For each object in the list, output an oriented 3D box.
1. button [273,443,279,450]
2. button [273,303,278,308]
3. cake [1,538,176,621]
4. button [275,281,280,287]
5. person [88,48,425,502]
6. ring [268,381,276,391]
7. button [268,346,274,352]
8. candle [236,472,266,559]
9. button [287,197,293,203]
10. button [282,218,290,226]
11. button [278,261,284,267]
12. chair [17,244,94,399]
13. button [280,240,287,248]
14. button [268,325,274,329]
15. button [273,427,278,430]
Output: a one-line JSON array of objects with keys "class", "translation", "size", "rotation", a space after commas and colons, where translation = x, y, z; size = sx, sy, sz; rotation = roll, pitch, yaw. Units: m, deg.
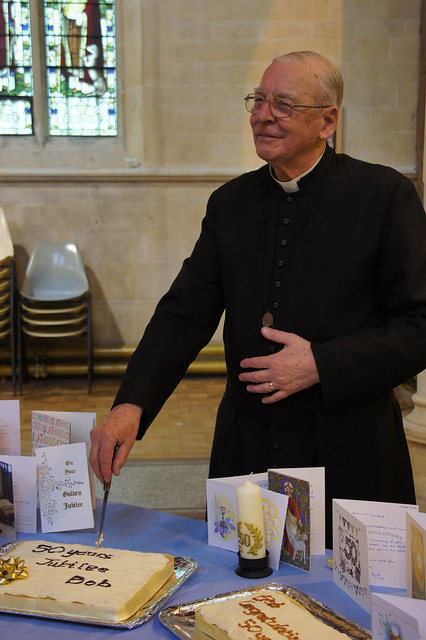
[{"class": "button", "translation": [0.146, 0.293, 1.450], "size": [0.009, 0.008, 0.002], "rotation": [-25, -16, 27]}, {"class": "button", "translation": [0.146, -0.033, 1.458], "size": [0.010, 0.009, 0.003], "rotation": [-8, -17, 20]}, {"class": "cake", "translation": [-0.267, 0.453, 1.122], "size": [0.346, 0.064, 0.233], "rotation": [1, -3, 23]}, {"class": "button", "translation": [0.151, -0.085, 1.463], "size": [0.010, 0.011, 0.005], "rotation": [1, -2, 19]}, {"class": "person", "translation": [0.147, -0.084, 1.459], "size": [0.710, 1.021, 0.476], "rotation": [2, -2, 3]}, {"class": "ring", "translation": [0.125, 0.140, 1.316], "size": [0.015, 0.016, 0.013], "rotation": [5, 2, 16]}, {"class": "button", "translation": [0.134, 0.068, 1.450], "size": [0.004, 0.013, 0.017], "rotation": [4, -3, -40]}, {"class": "candle", "translation": [0.066, 0.350, 1.127], "size": [0.052, 0.142, 0.062], "rotation": [-2, 13, -13]}, {"class": "button", "translation": [0.189, -0.294, 1.539], "size": [0.018, 0.017, 0.004], "rotation": [-1, -1, 12]}, {"class": "button", "translation": [0.178, -0.237, 1.524], "size": [0.017, 0.016, 0.015], "rotation": [6, -18, 2]}, {"class": "button", "translation": [0.160, -0.132, 1.478], "size": [0.011, 0.011, 0.003], "rotation": [-6, -14, 35]}, {"class": "chair", "translation": [-1.240, -0.019, 5.011], "size": [0.619, 0.830, 0.546], "rotation": [2, -2, -10]}, {"class": "button", "translation": [0.168, -0.182, 1.497], "size": [0.015, 0.015, 0.012], "rotation": [-4, 18, 8]}, {"class": "button", "translation": [0.135, 0.016, 1.450], "size": [0.010, 0.009, 0.003], "rotation": [-7, -7, 6]}, {"class": "button", "translation": [0.145, 0.252, 1.453], "size": [0.012, 0.005, 0.004], "rotation": [1, -2, 27]}]
